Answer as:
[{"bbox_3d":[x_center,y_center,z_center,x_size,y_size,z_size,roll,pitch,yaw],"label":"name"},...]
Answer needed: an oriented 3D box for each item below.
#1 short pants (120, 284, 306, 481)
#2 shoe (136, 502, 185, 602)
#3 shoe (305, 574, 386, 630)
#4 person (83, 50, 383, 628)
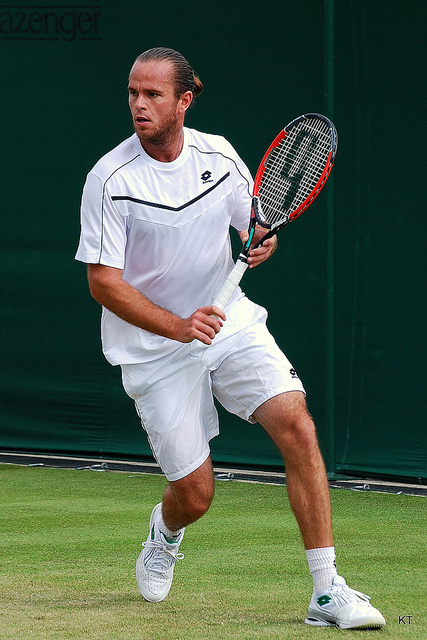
[{"bbox_3d":[-0.012,0.197,2.068,0.451,0.510,0.336,-1,8,-8],"label":"short pants"},{"bbox_3d":[-0.156,0.678,2.186,0.113,0.247,0.108,19,-37,-17],"label":"shoe"},{"bbox_3d":[0.308,0.668,1.769,0.089,0.115,0.230,14,-19,-31],"label":"shoe"},{"bbox_3d":[-0.019,0.072,2.025,0.626,1.551,0.757,-1,9,-10],"label":"person"}]
